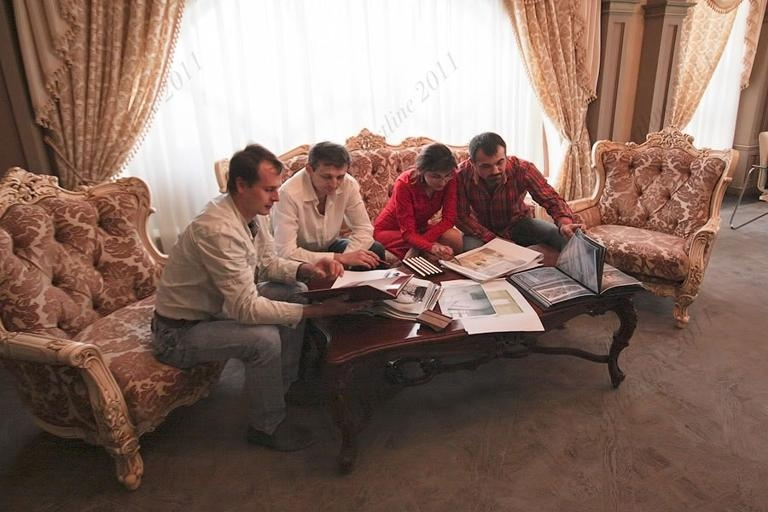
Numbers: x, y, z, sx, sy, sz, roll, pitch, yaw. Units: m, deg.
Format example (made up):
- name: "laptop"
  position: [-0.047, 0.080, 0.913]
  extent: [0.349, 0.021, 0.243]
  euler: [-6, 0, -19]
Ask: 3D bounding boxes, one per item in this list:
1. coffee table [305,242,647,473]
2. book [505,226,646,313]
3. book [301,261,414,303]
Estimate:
- name: "coffee table"
  position: [0.416, 0.425, 2.575]
  extent: [1.594, 0.713, 0.640]
  euler: [-6, 21, -18]
- name: "book"
  position: [0.919, 0.100, 2.500]
  extent: [0.562, 0.223, 0.375]
  euler: [-13, 33, -10]
- name: "book"
  position: [-0.113, 0.143, 2.424]
  extent: [0.491, 0.171, 0.417]
  euler: [1, 19, 0]
